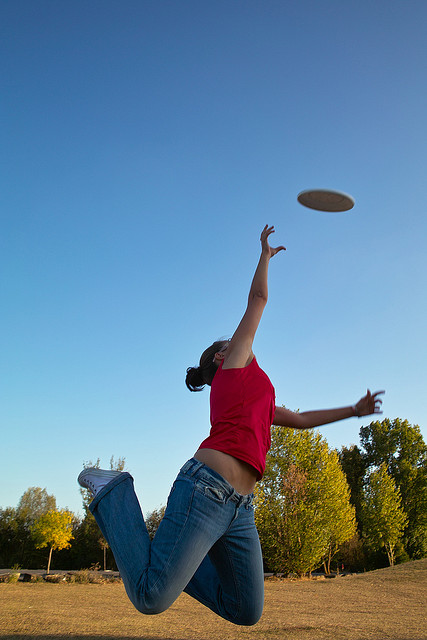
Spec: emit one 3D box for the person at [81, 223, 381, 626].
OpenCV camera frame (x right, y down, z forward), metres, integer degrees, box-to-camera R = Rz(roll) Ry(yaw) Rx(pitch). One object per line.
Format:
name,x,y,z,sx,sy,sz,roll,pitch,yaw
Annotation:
person,0.098,0.480,2.312,1.173,1.619,0.777,-3,-38,11
